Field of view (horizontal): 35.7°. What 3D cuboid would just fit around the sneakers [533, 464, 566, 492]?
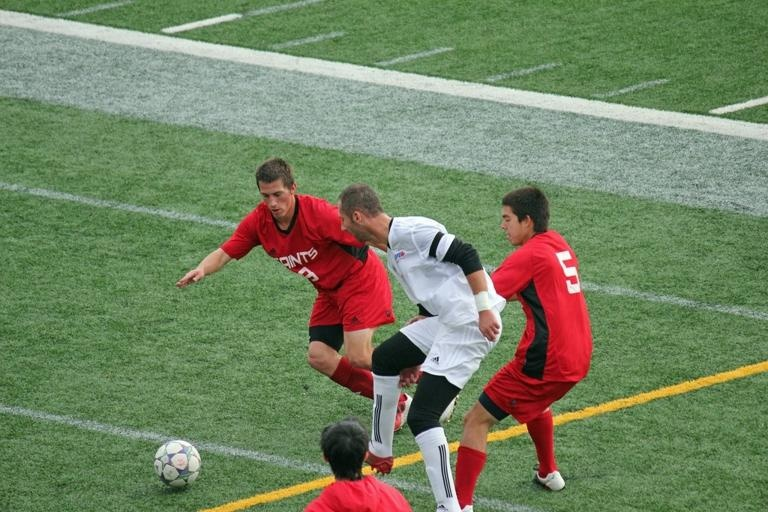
[{"bbox_3d":[1.680,2.301,12.188,0.166,0.142,0.316,-25,39,-23],"label":"sneakers"}]

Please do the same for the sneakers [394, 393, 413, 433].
[{"bbox_3d":[0.255,1.673,12.660,0.155,0.180,0.423,4,50,19],"label":"sneakers"}]

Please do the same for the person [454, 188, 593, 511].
[{"bbox_3d":[1.366,0.922,11.907,1.369,3.065,0.915,-6,17,-5],"label":"person"}]
